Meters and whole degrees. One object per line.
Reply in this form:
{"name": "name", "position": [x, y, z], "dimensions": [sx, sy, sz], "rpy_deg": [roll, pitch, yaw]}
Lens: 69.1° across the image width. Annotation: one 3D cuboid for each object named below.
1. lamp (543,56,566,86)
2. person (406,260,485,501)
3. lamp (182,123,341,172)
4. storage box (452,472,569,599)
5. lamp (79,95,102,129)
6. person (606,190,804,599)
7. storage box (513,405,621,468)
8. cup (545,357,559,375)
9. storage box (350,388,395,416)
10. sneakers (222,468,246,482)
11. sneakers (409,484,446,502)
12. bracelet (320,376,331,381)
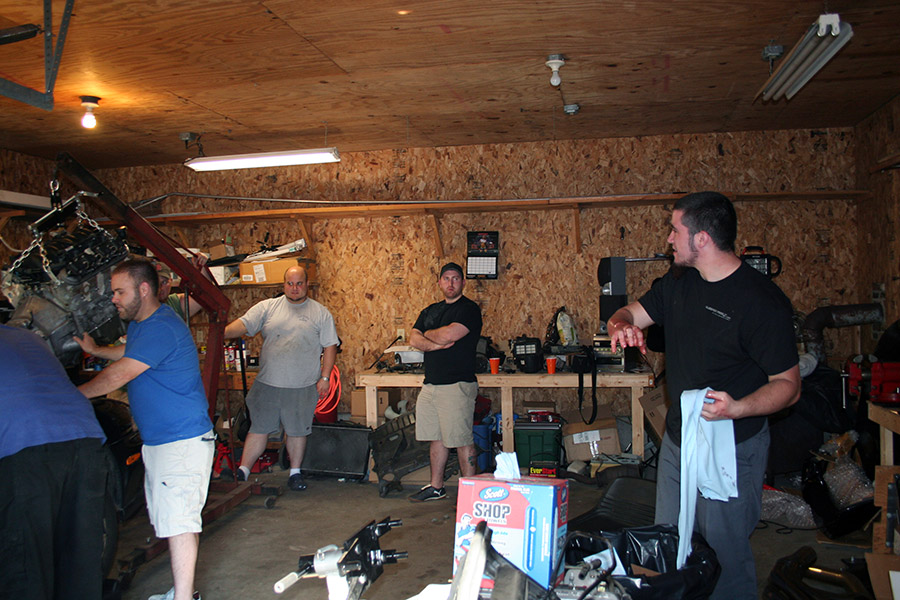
{"name": "lamp", "position": [0.885, -1.991, 5.647], "dimensions": [0.199, 0.164, 0.171], "rpy_deg": [1, -1, 5]}
{"name": "person", "position": [-0.048, 0.825, 6.302], "dimensions": [0.712, 2.279, 0.795], "rpy_deg": [-2, 14, 3]}
{"name": "lamp", "position": [-2.189, -1.678, 7.260], "dimensions": [1.450, 0.394, 2.196], "rpy_deg": [-6, 12, -19]}
{"name": "storage box", "position": [0.266, 1.041, 2.858], "dimensions": [0.668, 0.500, 0.327], "rpy_deg": [1, 1, 16]}
{"name": "lamp", "position": [-3.534, -1.853, 6.379], "dimensions": [0.252, 0.235, 0.226], "rpy_deg": [3, 4, 16]}
{"name": "person", "position": [1.437, 0.587, 3.854], "dimensions": [1.025, 2.410, 0.756], "rpy_deg": [8, 18, 38]}
{"name": "storage box", "position": [1.261, 1.493, 7.018], "dimensions": [1.057, 0.374, 0.671], "rpy_deg": [-1, -5, 5]}
{"name": "cup", "position": [1.085, 0.689, 7.028], "dimensions": [0.134, 0.185, 0.325], "rpy_deg": [-1, 12, 8]}
{"name": "storage box", "position": [-0.958, 1.234, 7.712], "dimensions": [0.477, 0.360, 0.270], "rpy_deg": [2, 1, 11]}
{"name": "sneakers", "position": [-2.146, 1.736, 6.497], "dimensions": [0.190, 0.089, 0.246], "rpy_deg": [1, -5, -11]}
{"name": "sneakers", "position": [-0.204, 1.880, 6.362], "dimensions": [0.392, 0.113, 0.124], "rpy_deg": [1, -5, -8]}
{"name": "bracelet", "position": [-1.297, 0.803, 6.700], "dimensions": [0.062, 0.047, 0.021], "rpy_deg": [7, -15, 10]}
